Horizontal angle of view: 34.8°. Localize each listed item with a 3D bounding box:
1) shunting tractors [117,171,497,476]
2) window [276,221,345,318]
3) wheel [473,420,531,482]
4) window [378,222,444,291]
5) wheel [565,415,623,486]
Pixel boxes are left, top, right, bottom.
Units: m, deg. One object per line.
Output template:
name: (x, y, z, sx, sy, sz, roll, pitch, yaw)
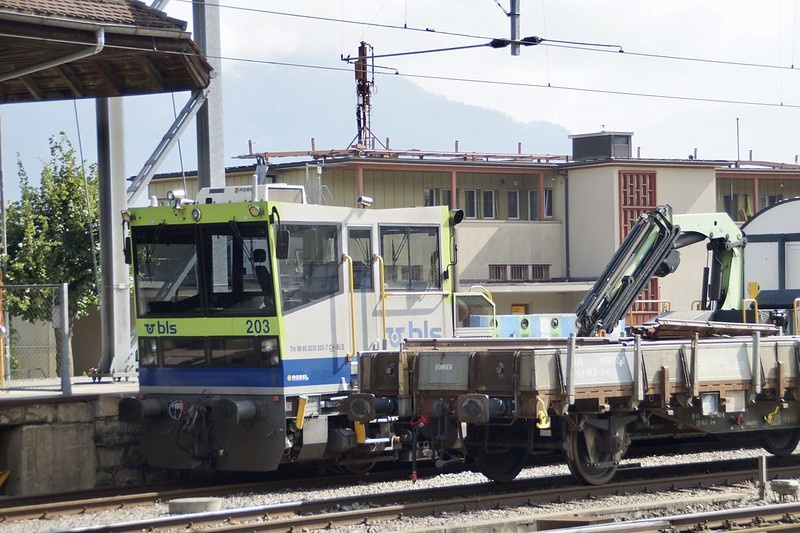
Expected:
shunting tractors: (-1.717, 1.539, 30.298, 4.920, 6.182, 9.090, -1, -2, 35)
window: (-1.908, 0.042, 26.998, 1.443, 1.863, 0.217, 0, -4, -32)
wheel: (2.096, 3.797, 26.559, 1.196, 1.570, 0.237, 9, -3, -35)
window: (0.593, -0.231, 28.594, 0.531, 1.550, 1.489, 8, 0, 41)
wheel: (3.919, 3.689, 25.938, 1.333, 1.672, 0.721, -2, -1, -37)
